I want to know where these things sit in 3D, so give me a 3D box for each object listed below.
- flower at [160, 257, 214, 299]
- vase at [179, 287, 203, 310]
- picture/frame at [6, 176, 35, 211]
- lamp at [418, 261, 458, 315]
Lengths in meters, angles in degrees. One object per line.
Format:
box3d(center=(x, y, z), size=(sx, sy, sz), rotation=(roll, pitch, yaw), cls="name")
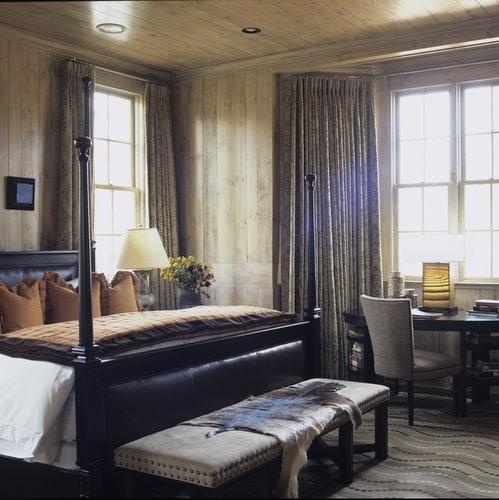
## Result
box3d(center=(-0.535, 0.237, 4.472), size=(0.439, 0.480, 0.484), rotation=(1, -1, 36), cls="flower")
box3d(center=(-0.553, 0.428, 4.359), size=(0.238, 0.226, 0.160), rotation=(1, -3, -38), cls="vase")
box3d(center=(-1.828, -0.446, 3.735), size=(0.033, 0.305, 0.295), rotation=(-1, -2, 34), cls="picture/frame")
box3d(center=(1.624, 0.334, 4.062), size=(0.361, 0.559, 0.394), rotation=(0, 1, 31), cls="lamp")
